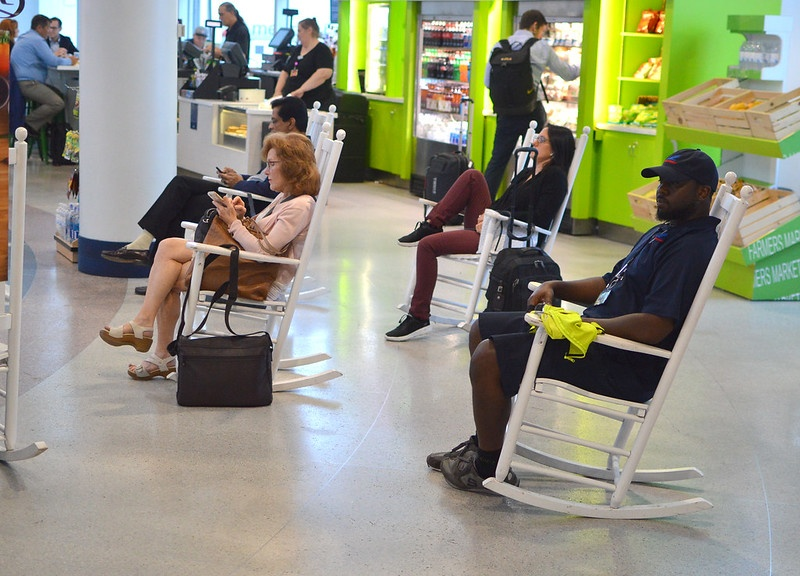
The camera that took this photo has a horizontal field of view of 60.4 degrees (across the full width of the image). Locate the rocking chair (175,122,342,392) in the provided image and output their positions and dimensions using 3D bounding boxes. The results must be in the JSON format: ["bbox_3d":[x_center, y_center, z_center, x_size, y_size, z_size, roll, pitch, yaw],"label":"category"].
[{"bbox_3d":[-0.792,-0.091,3.797,0.820,1.139,0.855,3,-10,45],"label":"rocking chair"}]

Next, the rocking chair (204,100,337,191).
[{"bbox_3d":[-1.004,-1.100,5.407,0.997,1.014,0.726,3,6,-15],"label":"rocking chair"}]

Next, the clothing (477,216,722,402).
[{"bbox_3d":[0.804,0.060,2.763,0.815,0.765,0.455,7,17,7],"label":"clothing"}]

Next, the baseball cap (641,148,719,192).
[{"bbox_3d":[1.148,-0.466,2.736,0.261,0.145,0.175,18,7,-4],"label":"baseball cap"}]

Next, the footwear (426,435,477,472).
[{"bbox_3d":[0.286,0.732,3.032,0.307,0.125,0.101,-5,12,15],"label":"footwear"}]

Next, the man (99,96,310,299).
[{"bbox_3d":[-1.375,-0.692,5.010,1.286,1.479,0.524,11,-3,0],"label":"man"}]

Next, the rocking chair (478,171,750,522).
[{"bbox_3d":[0.873,0.248,2.950,0.925,1.341,0.718,9,3,21],"label":"rocking chair"}]

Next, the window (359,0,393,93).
[{"bbox_3d":[-0.365,-3.699,10.602,0.351,1.345,0.720,4,17,-5],"label":"window"}]

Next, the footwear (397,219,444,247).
[{"bbox_3d":[0.135,-0.389,4.875,0.407,0.169,0.132,-6,19,-3],"label":"footwear"}]

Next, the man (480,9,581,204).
[{"bbox_3d":[1.461,-1.850,7.393,1.160,2.072,0.969,0,18,-1],"label":"man"}]

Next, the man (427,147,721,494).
[{"bbox_3d":[0.730,0.152,2.899,1.099,1.443,0.722,4,8,6],"label":"man"}]

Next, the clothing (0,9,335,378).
[{"bbox_3d":[-1.384,-0.257,4.875,1.950,2.869,1.084,3,5,-19],"label":"clothing"}]

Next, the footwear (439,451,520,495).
[{"bbox_3d":[0.346,0.774,2.948,0.391,0.156,0.138,5,17,16],"label":"footwear"}]

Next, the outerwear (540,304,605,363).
[{"bbox_3d":[0.622,0.170,2.566,0.207,0.093,0.202,-1,40,-35],"label":"outerwear"}]

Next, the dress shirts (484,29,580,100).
[{"bbox_3d":[1.364,-2.284,7.185,1.116,0.686,0.459,-3,28,24],"label":"dress shirts"}]
